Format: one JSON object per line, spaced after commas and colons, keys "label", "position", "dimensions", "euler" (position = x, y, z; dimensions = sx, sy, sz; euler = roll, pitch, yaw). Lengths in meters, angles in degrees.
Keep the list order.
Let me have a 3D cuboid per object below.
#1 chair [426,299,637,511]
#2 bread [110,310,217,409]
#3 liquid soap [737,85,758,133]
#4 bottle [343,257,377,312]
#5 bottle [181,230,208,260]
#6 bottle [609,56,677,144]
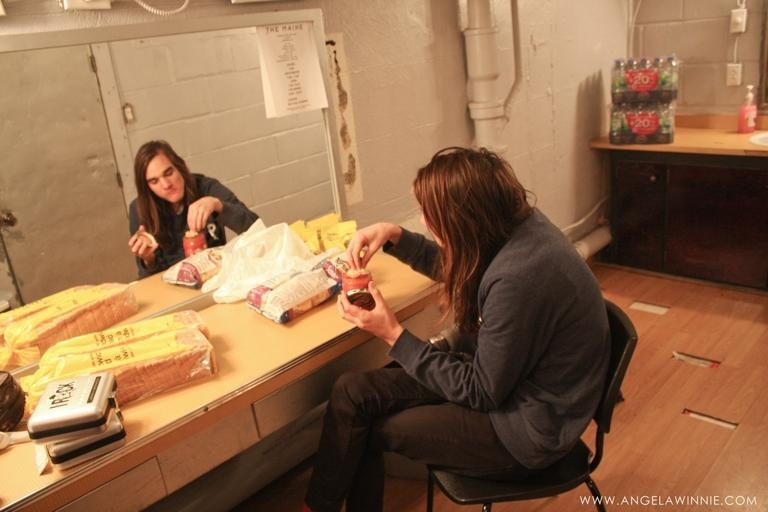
{"label": "chair", "position": [0.490, 0.404, 2.004], "dimensions": [0.719, 0.963, 0.574], "euler": [-2, 16, -4]}
{"label": "bread", "position": [-0.668, 0.303, 1.633], "dimensions": [0.278, 0.142, 0.215], "euler": [-12, 24, -18]}
{"label": "liquid soap", "position": [2.136, -0.870, 3.148], "dimensions": [0.089, 0.250, 0.211], "euler": [10, 28, 32]}
{"label": "bottle", "position": [-0.083, 0.092, 1.786], "dimensions": [0.122, 0.174, 0.128], "euler": [-6, 1, 0]}
{"label": "bottle", "position": [-0.688, -0.035, 1.979], "dimensions": [0.090, 0.095, 0.087], "euler": [-3, 4, -12]}
{"label": "bottle", "position": [1.529, -0.919, 3.188], "dimensions": [0.367, 0.489, 0.173], "euler": [4, 25, 21]}
